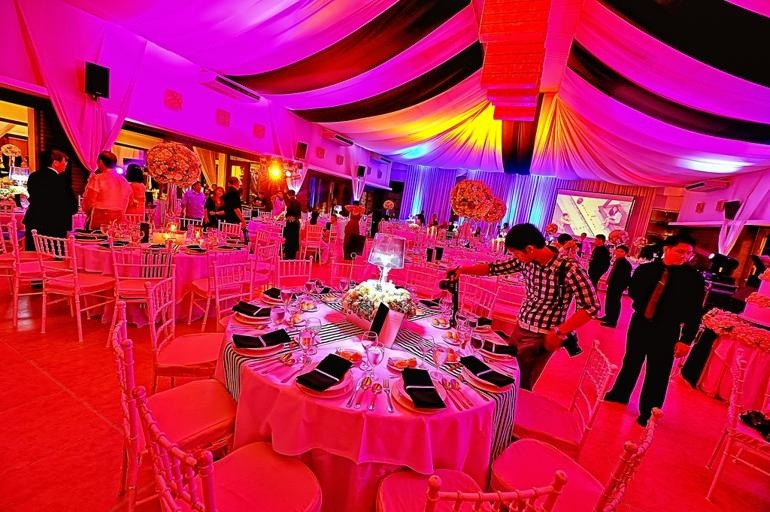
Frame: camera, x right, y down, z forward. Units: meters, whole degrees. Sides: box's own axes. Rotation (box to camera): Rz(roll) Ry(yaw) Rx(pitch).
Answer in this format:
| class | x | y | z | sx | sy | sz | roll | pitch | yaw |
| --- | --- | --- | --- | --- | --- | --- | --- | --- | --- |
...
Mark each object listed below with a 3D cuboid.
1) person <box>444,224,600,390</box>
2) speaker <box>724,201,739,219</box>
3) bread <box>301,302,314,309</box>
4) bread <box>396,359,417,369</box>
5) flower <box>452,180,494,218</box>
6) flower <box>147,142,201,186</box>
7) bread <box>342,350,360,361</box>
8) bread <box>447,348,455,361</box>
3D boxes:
| class | x | y | z | sx | sy | sz | roll | pitch | yaw |
| --- | --- | --- | --- | --- | --- | --- | --- | --- | --- |
| person | 2.059 | 0.850 | 7.340 | 1.126 | 2.724 | 1.552 | -9 | 39 | -11 |
| speaker | 10.039 | -1.345 | 14.087 | 0.122 | 0.437 | 0.462 | 4 | 21 | -6 |
| bread | -1.070 | 0.696 | 6.645 | 0.105 | 0.034 | 0.112 | 7 | 15 | 14 |
| bread | 0.254 | 1.330 | 5.967 | 0.158 | 0.059 | 0.124 | 2 | -1 | -15 |
| flower | 1.969 | -1.228 | 10.569 | 0.866 | 0.888 | 0.751 | -4 | 15 | -32 |
| flower | -3.706 | -1.593 | 8.459 | 0.836 | 0.745 | 0.472 | 3 | 9 | -27 |
| bread | -0.417 | 1.242 | 6.007 | 0.150 | 0.062 | 0.153 | 8 | 14 | 4 |
| bread | 0.832 | 1.267 | 6.203 | 0.117 | 0.084 | 0.135 | 1 | 23 | 2 |
